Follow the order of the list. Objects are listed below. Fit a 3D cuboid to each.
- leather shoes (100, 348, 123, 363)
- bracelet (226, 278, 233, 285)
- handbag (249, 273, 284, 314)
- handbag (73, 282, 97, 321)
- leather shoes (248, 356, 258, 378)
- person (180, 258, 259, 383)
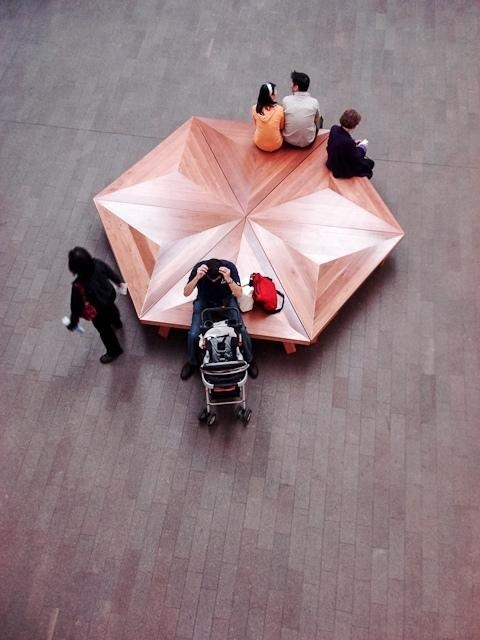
[{"bbox_3d":[-1.104,0.313,4.544,0.204,0.091,0.106,-35,82,9],"label":"leather shoes"},{"bbox_3d":[-0.073,-0.291,3.867,0.017,0.050,0.035,-35,53,-9],"label":"bracelet"},{"bbox_3d":[0.223,-0.194,4.240,0.108,0.349,0.246,-16,18,39],"label":"handbag"},{"bbox_3d":[-1.144,-0.141,3.968,0.143,0.228,0.113,-32,28,-33],"label":"handbag"},{"bbox_3d":[0.115,0.410,4.409,0.052,0.105,0.187,-11,84,2],"label":"leather shoes"},{"bbox_3d":[-0.192,-0.098,4.022,0.589,1.168,0.796,2,58,3],"label":"person"}]
